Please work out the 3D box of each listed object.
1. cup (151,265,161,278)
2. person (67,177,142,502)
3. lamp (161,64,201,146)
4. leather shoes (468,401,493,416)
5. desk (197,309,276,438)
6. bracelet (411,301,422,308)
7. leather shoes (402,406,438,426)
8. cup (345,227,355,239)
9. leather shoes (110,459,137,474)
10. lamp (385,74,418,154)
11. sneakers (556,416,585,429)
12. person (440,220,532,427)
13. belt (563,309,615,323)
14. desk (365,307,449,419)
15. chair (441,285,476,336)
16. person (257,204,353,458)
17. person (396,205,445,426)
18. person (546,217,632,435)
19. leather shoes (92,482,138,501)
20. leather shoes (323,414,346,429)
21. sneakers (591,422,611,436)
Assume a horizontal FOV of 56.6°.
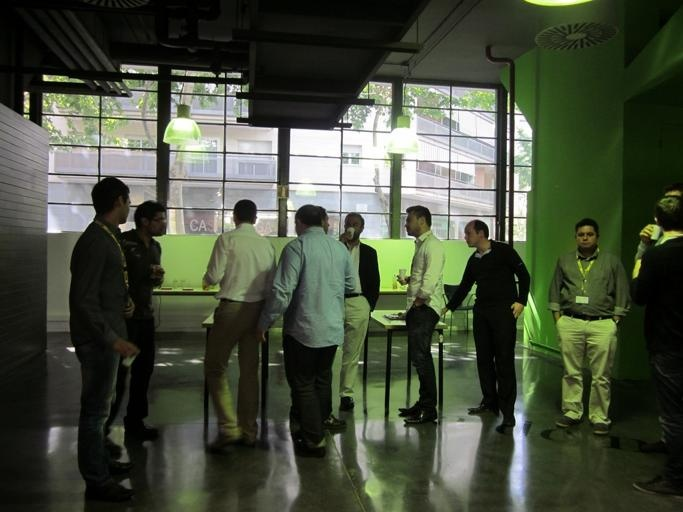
[{"bbox_3d":[-1.720,0.151,5.916,0.116,0.116,0.068,-6,11,-40],"label":"cup"},{"bbox_3d":[-1.868,0.646,4.988,0.470,2.503,0.508,-2,7,-24],"label":"person"},{"bbox_3d":[-2.102,-1.902,8.419,0.456,0.791,0.463,1,-1,-27],"label":"lamp"},{"bbox_3d":[1.458,1.642,6.788,0.316,0.133,0.108,2,-9,-1],"label":"leather shoes"},{"bbox_3d":[-1.141,1.205,6.288,0.816,1.076,0.739,2,-2,-8],"label":"desk"},{"bbox_3d":[0.759,0.491,6.410,0.077,0.078,0.104,1,0,8],"label":"bracelet"},{"bbox_3d":[0.804,1.654,6.508,0.353,0.162,0.140,2,-5,-3],"label":"leather shoes"},{"bbox_3d":[0.093,-0.253,6.891,0.091,0.126,0.043,-1,-7,2],"label":"cup"},{"bbox_3d":[-1.829,1.771,5.327,0.207,0.090,0.070,1,3,-20],"label":"leather shoes"},{"bbox_3d":[0.841,-1.889,8.601,0.404,0.959,0.410,6,12,24],"label":"lamp"},{"bbox_3d":[2.320,1.690,6.458,0.286,0.106,0.101,4,-6,-28],"label":"sneakers"},{"bbox_3d":[1.530,0.682,6.465,0.654,2.029,0.646,3,7,18],"label":"person"},{"bbox_3d":[2.485,0.603,6.381,0.512,0.083,0.082,4,8,24],"label":"belt"},{"bbox_3d":[0.668,1.216,7.572,0.691,0.876,1.766,1,-4,-6],"label":"desk"},{"bbox_3d":[2.048,0.914,11.050,0.489,0.808,0.522,-4,1,-7],"label":"chair"},{"bbox_3d":[-0.310,0.655,5.724,0.857,2.205,0.476,0,7,-7],"label":"person"},{"bbox_3d":[0.828,0.593,6.516,0.420,2.191,0.546,1,7,5],"label":"person"},{"bbox_3d":[2.454,0.687,6.381,0.760,2.087,0.534,4,7,24],"label":"person"},{"bbox_3d":[-1.796,1.851,5.011,0.356,0.145,0.131,3,-3,-5],"label":"leather shoes"},{"bbox_3d":[-0.073,1.631,6.248,0.252,0.107,0.100,-1,-1,-12],"label":"leather shoes"},{"bbox_3d":[2.562,1.694,6.240,0.213,0.092,0.160,0,7,-5],"label":"sneakers"}]
